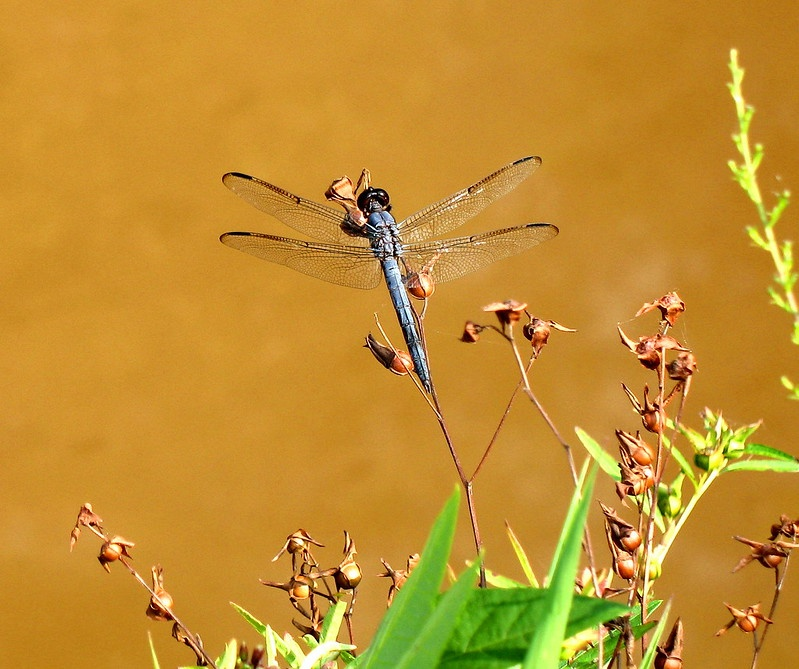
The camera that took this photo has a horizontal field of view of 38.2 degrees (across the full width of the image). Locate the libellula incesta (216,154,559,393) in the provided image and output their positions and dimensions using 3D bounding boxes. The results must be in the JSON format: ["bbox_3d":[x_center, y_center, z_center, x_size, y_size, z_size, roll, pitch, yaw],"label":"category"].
[{"bbox_3d":[-0.012,-0.250,3.127,0.940,0.983,0.446,-5,-81,-4],"label":"libellula incesta"}]
